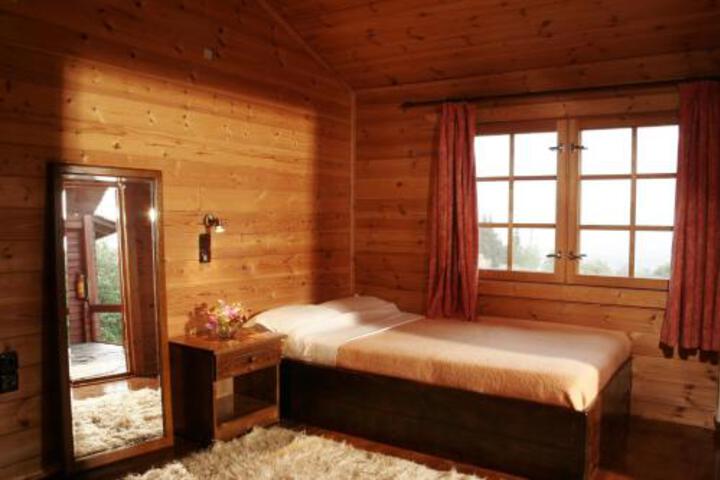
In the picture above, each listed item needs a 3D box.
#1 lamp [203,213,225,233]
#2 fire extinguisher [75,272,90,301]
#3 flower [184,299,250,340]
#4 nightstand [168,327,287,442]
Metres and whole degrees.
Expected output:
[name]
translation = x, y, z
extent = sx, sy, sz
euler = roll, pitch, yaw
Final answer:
[lamp]
translation = -1.200, -0.144, 4.375
extent = 0.221, 0.154, 0.127
euler = 2, 12, 12
[fire extinguisher]
translation = -2.005, 0.326, 3.641
extent = 0.023, 0.193, 0.093
euler = 3, 4, 39
[flower]
translation = -1.186, 0.659, 4.298
extent = 0.356, 0.207, 0.459
euler = 2, 1, 27
[nightstand]
translation = -1.118, 1.088, 4.475
extent = 0.966, 0.877, 1.157
euler = -1, 0, 32
